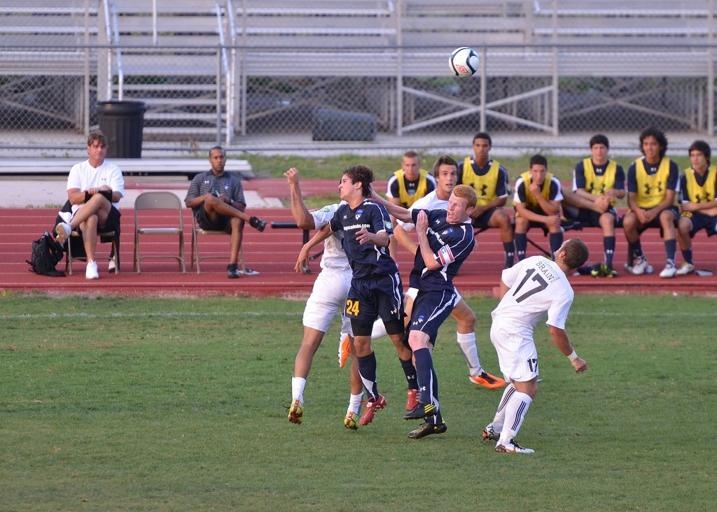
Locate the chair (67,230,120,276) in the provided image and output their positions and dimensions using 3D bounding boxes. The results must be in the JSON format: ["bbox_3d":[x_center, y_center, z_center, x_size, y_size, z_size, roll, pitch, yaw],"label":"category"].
[{"bbox_3d":[-4.368,-0.082,31.963,0.878,0.654,0.723,0,-5,-3],"label":"chair"}]

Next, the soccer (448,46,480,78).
[{"bbox_3d":[1.942,-3.575,34.797,0.579,0.537,0.522,11,-28,-6],"label":"soccer"}]

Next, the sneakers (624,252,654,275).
[{"bbox_3d":[4.751,0.182,32.308,0.218,0.240,0.603,1,-4,37],"label":"sneakers"}]

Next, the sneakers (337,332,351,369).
[{"bbox_3d":[-0.177,1.382,27.693,0.254,0.515,0.180,4,25,-2],"label":"sneakers"}]

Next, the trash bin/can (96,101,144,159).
[{"bbox_3d":[-4.486,-2.438,36.290,1.116,1.162,1.059,-1,5,-5],"label":"trash bin/can"}]

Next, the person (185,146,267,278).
[{"bbox_3d":[-2.218,-0.739,31.954,1.279,2.198,0.769,2,4,4],"label":"person"}]

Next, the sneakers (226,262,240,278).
[{"bbox_3d":[-2.030,0.250,31.879,0.191,0.246,0.203,1,4,-3],"label":"sneakers"}]

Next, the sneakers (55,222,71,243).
[{"bbox_3d":[-4.754,-0.404,31.280,0.152,0.393,0.181,3,42,-6],"label":"sneakers"}]

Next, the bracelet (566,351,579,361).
[{"bbox_3d":[3.025,1.401,26.803,0.147,0.112,0.149,22,-10,-3],"label":"bracelet"}]

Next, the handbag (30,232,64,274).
[{"bbox_3d":[-5.211,-0.027,31.675,0.713,0.666,0.601,12,-2,-15],"label":"handbag"}]

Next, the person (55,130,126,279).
[{"bbox_3d":[-4.425,-0.850,31.681,0.772,2.425,1.226,4,4,33],"label":"person"}]

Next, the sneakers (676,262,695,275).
[{"bbox_3d":[5.490,0.224,32.103,0.292,0.214,0.257,2,4,7],"label":"sneakers"}]

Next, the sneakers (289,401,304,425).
[{"bbox_3d":[-0.850,2.207,26.759,0.190,0.337,0.144,3,13,4],"label":"sneakers"}]

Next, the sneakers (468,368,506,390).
[{"bbox_3d":[1.899,1.832,27.906,0.485,0.190,0.253,9,18,18],"label":"sneakers"}]

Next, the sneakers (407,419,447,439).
[{"bbox_3d":[1.009,2.454,26.918,0.602,0.254,0.213,-8,4,7],"label":"sneakers"}]

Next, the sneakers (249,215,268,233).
[{"bbox_3d":[-1.646,-0.550,31.624,0.207,0.148,0.421,17,5,-34],"label":"sneakers"}]
